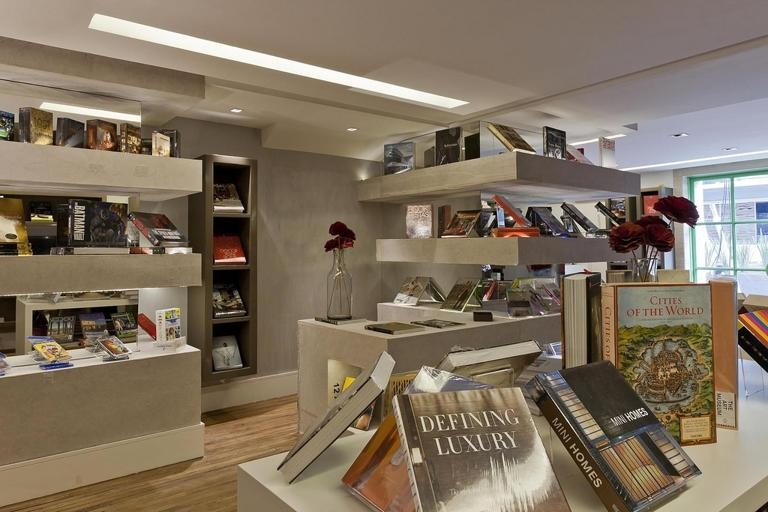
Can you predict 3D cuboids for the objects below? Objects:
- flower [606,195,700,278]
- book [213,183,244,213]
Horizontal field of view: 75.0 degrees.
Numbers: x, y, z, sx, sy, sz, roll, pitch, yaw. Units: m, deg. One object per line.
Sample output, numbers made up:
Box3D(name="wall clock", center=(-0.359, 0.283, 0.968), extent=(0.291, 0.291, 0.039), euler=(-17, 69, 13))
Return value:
Box3D(name="flower", center=(1.170, -0.100, 2.314), extent=(0.414, 0.455, 0.420), euler=(1, 7, 24))
Box3D(name="book", center=(-1.577, -0.578, 5.032), extent=(0.311, 0.293, 0.228), euler=(-4, 4, -27))
